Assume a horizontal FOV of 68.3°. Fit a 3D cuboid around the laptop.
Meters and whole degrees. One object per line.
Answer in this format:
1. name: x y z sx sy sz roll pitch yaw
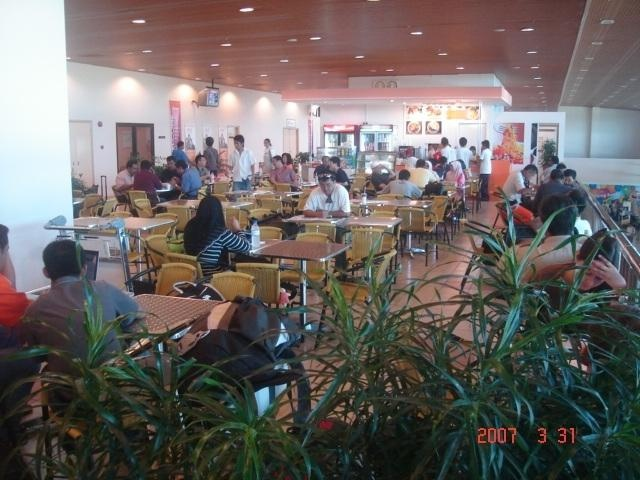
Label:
1. laptop: -1.516 0.191 2.783 0.333 0.313 0.457 9 0 -33
